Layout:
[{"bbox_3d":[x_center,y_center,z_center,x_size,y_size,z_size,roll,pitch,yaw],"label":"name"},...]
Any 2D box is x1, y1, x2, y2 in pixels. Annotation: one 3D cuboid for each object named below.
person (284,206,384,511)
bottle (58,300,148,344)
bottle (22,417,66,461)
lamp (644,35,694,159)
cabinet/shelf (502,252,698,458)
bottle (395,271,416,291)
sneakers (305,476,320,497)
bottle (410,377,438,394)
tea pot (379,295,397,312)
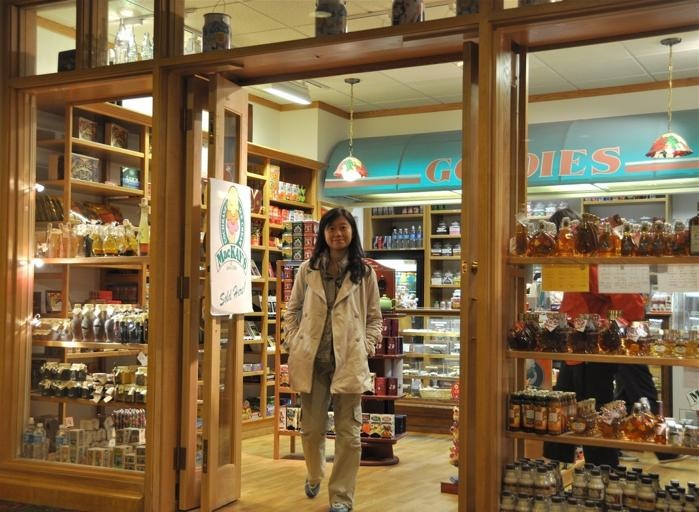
[{"bbox_3d":[-0.128,0.747,4.740,0.718,2.215,0.463,0,-4,12],"label":"person"},{"bbox_3d":[-1.874,0.516,4.907,0.901,0.267,0.300,-1,-5,24],"label":"bottle"},{"bbox_3d":[-2.462,1.440,5.110,0.296,0.298,0.446,3,-5,-26],"label":"bottle"},{"bbox_3d":[3.612,-1.746,7.235,0.448,1.397,1.954,-1,-5,27],"label":"lamp"},{"bbox_3d":[1.689,0.780,4.239,1.040,1.460,1.323,-1,-5,22],"label":"cabinet/shelf"},{"bbox_3d":[0.888,0.397,9.892,0.374,0.348,0.194,-3,-9,26],"label":"bottle"},{"bbox_3d":[-0.294,1.790,4.927,0.073,0.199,0.088,0,0,-1],"label":"sneakers"},{"bbox_3d":[0.888,1.559,7.615,0.342,0.195,0.051,-2,-5,32],"label":"bottle"},{"bbox_3d":[0.365,0.461,6.195,0.139,0.151,0.219,-3,-6,17],"label":"tea pot"}]
